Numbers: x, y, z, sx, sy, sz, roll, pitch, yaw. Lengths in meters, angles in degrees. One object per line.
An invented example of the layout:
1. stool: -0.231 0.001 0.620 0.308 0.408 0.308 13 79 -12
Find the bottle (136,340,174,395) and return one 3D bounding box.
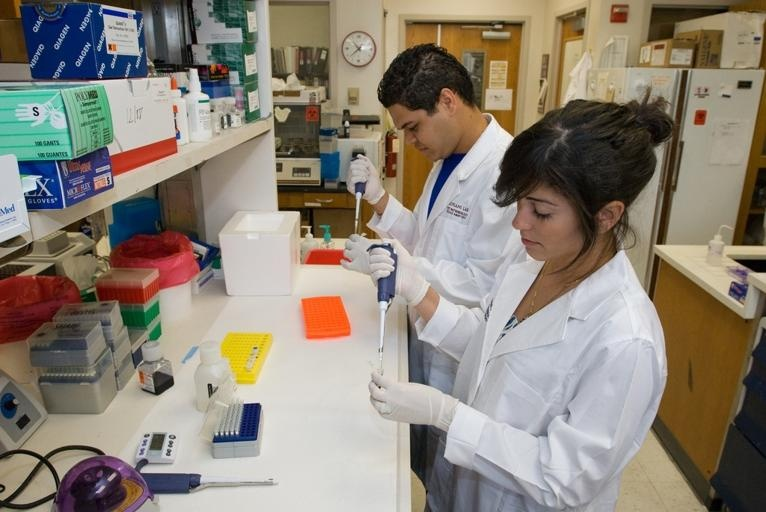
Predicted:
1. bottle: -0.801 0.399 1.893 0.087 0.192 0.102 9 22 21

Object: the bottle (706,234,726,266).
1. bottle: 1.779 -0.049 2.889 0.076 0.166 0.173 12 23 31

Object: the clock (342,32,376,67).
1. clock: -0.231 -2.036 5.294 0.228 0.253 0.034 -14 28 14

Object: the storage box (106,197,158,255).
1. storage box: -1.118 -0.125 2.400 0.106 0.218 0.209 5 15 24

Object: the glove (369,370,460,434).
1. glove: 0.104 0.466 1.747 0.264 0.162 0.100 17 -6 8

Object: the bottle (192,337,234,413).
1. bottle: -0.573 0.397 1.821 0.133 0.228 0.107 -7 20 -19

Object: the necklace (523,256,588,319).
1. necklace: 0.539 0.095 1.728 0.057 0.239 0.132 34 1 -19

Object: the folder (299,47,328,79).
1. folder: -0.712 -1.941 5.601 0.248 0.378 0.364 1 16 -3
